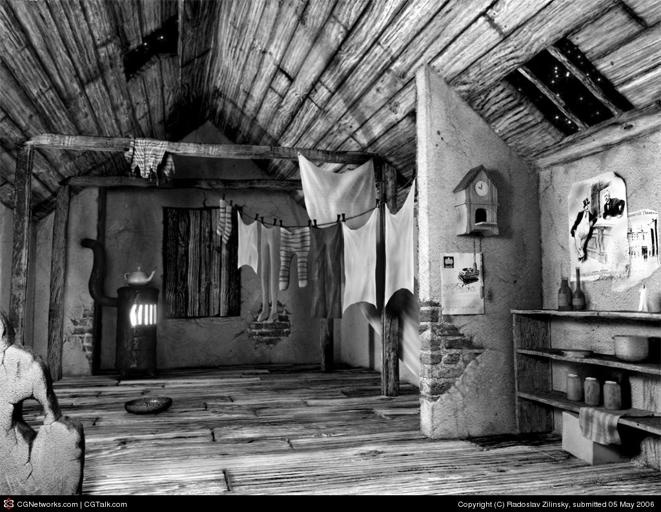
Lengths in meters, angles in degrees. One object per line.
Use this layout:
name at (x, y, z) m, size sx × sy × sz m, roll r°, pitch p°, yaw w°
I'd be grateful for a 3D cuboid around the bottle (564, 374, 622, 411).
bottle at (1.911, 0.991, 3.832) m, size 0.393 × 0.207 × 0.247 m, roll -2°, pitch -2°, yaw 41°

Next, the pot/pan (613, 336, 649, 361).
pot/pan at (2.037, 0.624, 3.568) m, size 0.180 × 0.144 × 0.169 m, roll 8°, pitch -13°, yaw -44°

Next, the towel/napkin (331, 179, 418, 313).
towel/napkin at (0.399, -0.069, 5.108) m, size 0.112 × 1.245 × 1.274 m, roll 8°, pitch -11°, yaw -40°

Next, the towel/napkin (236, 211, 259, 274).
towel/napkin at (-1.061, -0.164, 6.726) m, size 0.264 × 0.764 × 0.326 m, roll 0°, pitch -2°, yaw -9°

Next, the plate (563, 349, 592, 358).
plate at (1.817, 0.730, 3.872) m, size 0.193 × 0.037 × 0.252 m, roll -1°, pitch -2°, yaw 29°

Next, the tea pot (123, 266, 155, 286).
tea pot at (-2.708, 0.299, 7.309) m, size 0.464 × 0.286 × 0.310 m, roll -2°, pitch -7°, yaw 17°

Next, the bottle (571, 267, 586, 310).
bottle at (1.901, 0.251, 4.024) m, size 0.091 × 0.321 × 0.213 m, roll -1°, pitch -2°, yaw 26°

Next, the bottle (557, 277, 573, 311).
bottle at (1.825, 0.293, 4.088) m, size 0.098 × 0.251 × 0.226 m, roll -1°, pitch -2°, yaw 25°

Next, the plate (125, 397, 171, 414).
plate at (-1.751, 1.449, 5.057) m, size 0.400 × 0.100 × 0.329 m, roll 1°, pitch -2°, yaw -43°
